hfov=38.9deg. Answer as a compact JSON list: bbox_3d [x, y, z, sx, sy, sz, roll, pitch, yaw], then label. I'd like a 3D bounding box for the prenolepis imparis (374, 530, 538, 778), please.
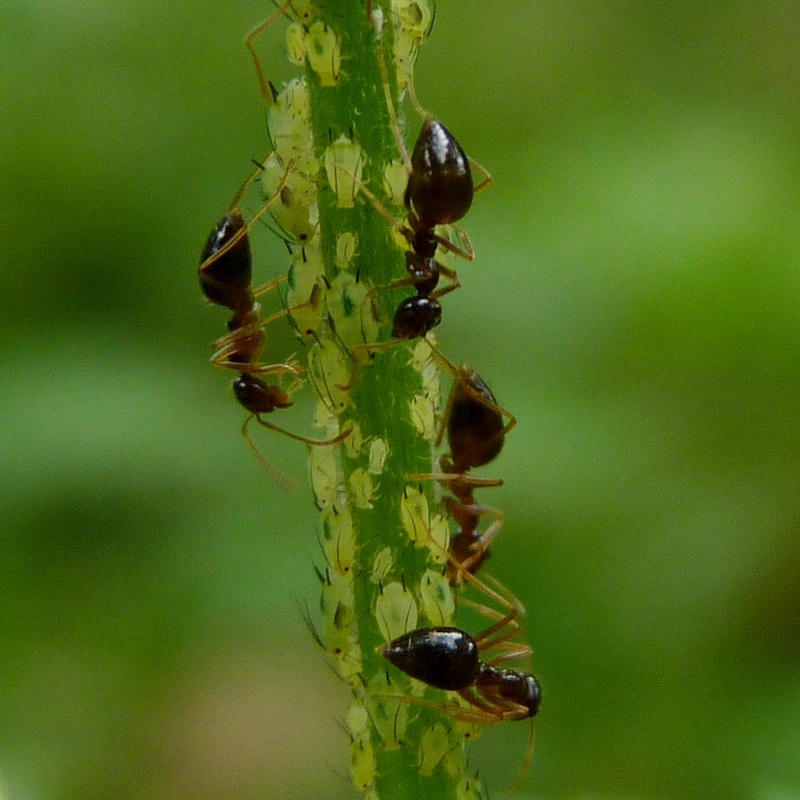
[{"bbox_3d":[0.031,0.164,0.709,0.104,0.056,0.161,3,-25,11],"label":"prenolepis imparis"}]

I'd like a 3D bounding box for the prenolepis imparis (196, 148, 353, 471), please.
[{"bbox_3d":[-0.107,-0.060,0.795,0.068,0.227,0.148,-7,1,6],"label":"prenolepis imparis"}]

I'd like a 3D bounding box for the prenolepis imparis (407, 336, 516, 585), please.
[{"bbox_3d":[0.054,0.038,0.740,0.037,0.147,0.087,3,-7,21],"label":"prenolepis imparis"}]

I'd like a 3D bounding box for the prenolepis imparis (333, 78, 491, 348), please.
[{"bbox_3d":[-0.008,-0.110,0.739,0.063,0.186,0.097,10,0,31],"label":"prenolepis imparis"}]
